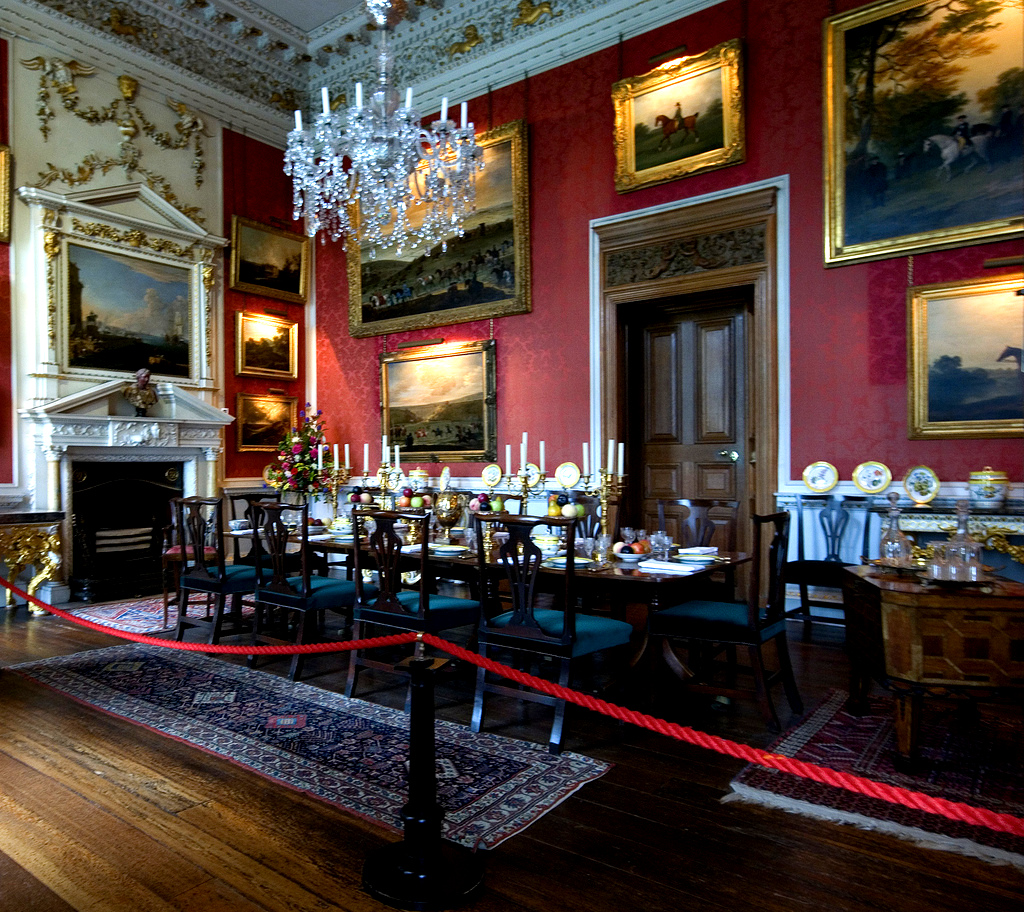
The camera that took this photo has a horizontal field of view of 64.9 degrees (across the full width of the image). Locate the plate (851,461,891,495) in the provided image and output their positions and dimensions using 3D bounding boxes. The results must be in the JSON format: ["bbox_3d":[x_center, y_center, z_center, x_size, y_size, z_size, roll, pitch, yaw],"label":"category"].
[{"bbox_3d":[2.712,0.161,6.036,0.268,0.244,0.146,1,6,24],"label":"plate"}]

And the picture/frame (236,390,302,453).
[{"bbox_3d":[-2.891,-0.402,9.403,0.068,0.615,0.925,6,8,40],"label":"picture/frame"}]

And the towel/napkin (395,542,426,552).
[{"bbox_3d":[-0.588,0.521,4.603,0.153,0.027,0.138,0,0,4],"label":"towel/napkin"}]

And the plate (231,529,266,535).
[{"bbox_3d":[-1.946,0.557,5.886,0.257,0.020,0.243,-2,-3,42],"label":"plate"}]

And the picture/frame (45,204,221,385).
[{"bbox_3d":[-3.840,-1.584,8.078,0.194,1.527,1.731,2,5,30],"label":"picture/frame"}]

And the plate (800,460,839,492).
[{"bbox_3d":[2.413,0.165,6.276,0.257,0.252,0.115,1,6,25],"label":"plate"}]

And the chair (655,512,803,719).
[{"bbox_3d":[1.334,0.813,4.744,0.741,1.162,1.783,1,5,19],"label":"chair"}]

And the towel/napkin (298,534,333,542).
[{"bbox_3d":[-1.305,0.537,5.292,0.144,0.029,0.116,1,1,17],"label":"towel/napkin"}]

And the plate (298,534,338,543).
[{"bbox_3d":[-1.289,0.541,5.296,0.137,0.028,0.118,1,2,33],"label":"plate"}]

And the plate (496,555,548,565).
[{"bbox_3d":[0.047,0.516,3.984,0.137,0.027,0.130,1,-2,-15],"label":"plate"}]

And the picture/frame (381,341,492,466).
[{"bbox_3d":[-0.773,-0.559,8.654,1.830,1.170,0.281,0,1,36],"label":"picture/frame"}]

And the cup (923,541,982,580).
[{"bbox_3d":[1.999,0.471,3.664,0.220,0.134,0.191,0,-1,-17],"label":"cup"}]

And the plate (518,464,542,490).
[{"bbox_3d":[0.134,0.214,7.306,0.062,0.197,0.243,11,-18,-37],"label":"plate"}]

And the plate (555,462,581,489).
[{"bbox_3d":[0.522,0.178,7.522,0.255,0.215,0.058,25,0,40],"label":"plate"}]

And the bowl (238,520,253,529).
[{"bbox_3d":[-1.934,0.491,5.797,0.155,0.069,0.137,3,-3,-22],"label":"bowl"}]

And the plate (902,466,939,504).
[{"bbox_3d":[2.958,0.212,5.811,0.151,0.263,0.207,-2,5,-15],"label":"plate"}]

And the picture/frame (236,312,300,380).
[{"bbox_3d":[-2.926,-1.307,9.468,0.079,0.701,1.053,-6,-8,39],"label":"picture/frame"}]

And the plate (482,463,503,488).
[{"bbox_3d":[-0.196,0.194,8.182,0.260,0.246,0.134,4,7,44],"label":"plate"}]
